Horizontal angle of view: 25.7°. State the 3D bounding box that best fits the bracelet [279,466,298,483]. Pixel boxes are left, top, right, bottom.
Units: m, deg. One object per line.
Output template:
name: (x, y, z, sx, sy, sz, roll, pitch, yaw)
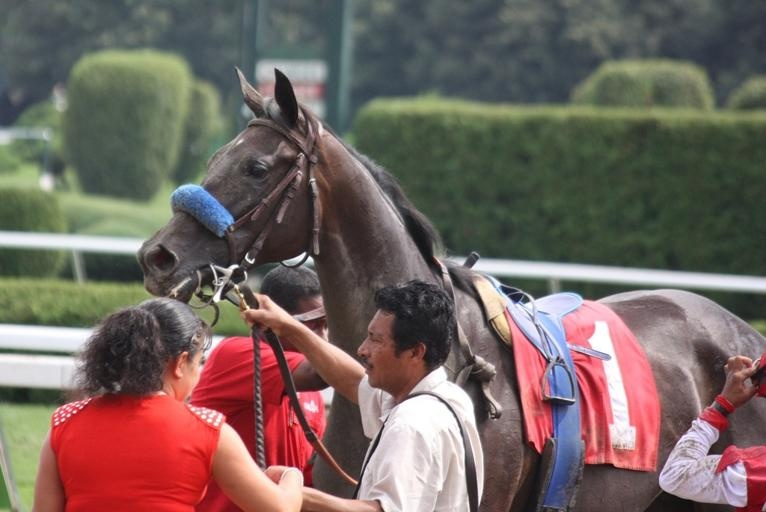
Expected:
bracelet: (-0.943, 2.181, 16.916, 0.149, 0.141, 0.150, 9, -11, -7)
